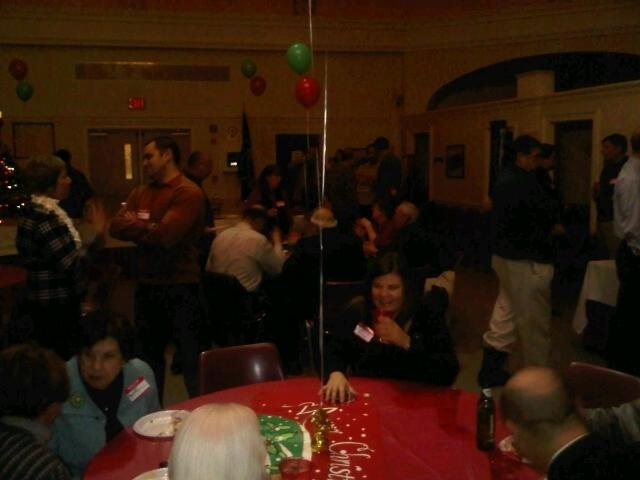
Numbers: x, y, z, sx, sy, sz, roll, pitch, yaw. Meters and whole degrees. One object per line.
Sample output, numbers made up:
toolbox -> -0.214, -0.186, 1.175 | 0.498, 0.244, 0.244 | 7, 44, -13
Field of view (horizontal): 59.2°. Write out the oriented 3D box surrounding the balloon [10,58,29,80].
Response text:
balloon -> -2.326, -1.319, 4.372 | 0.121, 0.168, 0.090 | -2, 10, -10

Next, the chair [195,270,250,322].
chair -> -0.721, 0.474, 4.136 | 0.314, 0.419, 0.396 | -13, -19, 17

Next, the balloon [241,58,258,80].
balloon -> -0.603, -1.436, 4.800 | 0.113, 0.160, 0.116 | 6, -6, -28

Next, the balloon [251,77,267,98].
balloon -> -0.512, -1.296, 4.764 | 0.155, 0.167, 0.114 | -4, 11, -18

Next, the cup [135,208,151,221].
cup -> -1.217, -0.177, 3.893 | 0.077, 0.088, 0.055 | 3, 1, 26

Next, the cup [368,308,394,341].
cup -> 0.350, 0.474, 3.194 | 0.129, 0.271, 0.146 | -2, -4, -3

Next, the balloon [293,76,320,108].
balloon -> -0.096, -1.148, 4.460 | 0.267, 0.274, 0.288 | -1, -6, -2

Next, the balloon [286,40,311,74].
balloon -> -0.160, -1.416, 4.377 | 0.203, 0.285, 0.218 | -3, 13, -4

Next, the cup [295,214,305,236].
cup -> -0.157, -0.116, 4.276 | 0.077, 0.133, 0.127 | -3, 6, -15

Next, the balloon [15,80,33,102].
balloon -> -2.269, -1.142, 4.359 | 0.109, 0.167, 0.118 | 2, 9, -2
